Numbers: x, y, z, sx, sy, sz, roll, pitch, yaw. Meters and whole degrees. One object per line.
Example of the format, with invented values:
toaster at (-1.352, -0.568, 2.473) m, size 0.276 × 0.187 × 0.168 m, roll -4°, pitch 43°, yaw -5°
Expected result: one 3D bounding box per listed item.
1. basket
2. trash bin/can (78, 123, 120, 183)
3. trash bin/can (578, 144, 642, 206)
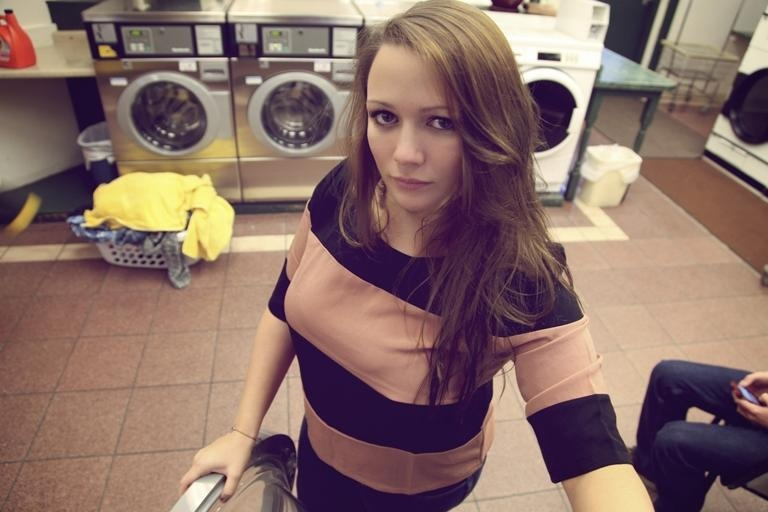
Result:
basket at (-1.706, -0.062, 3.695) m, size 0.473 × 0.163 × 0.309 m, roll 0°, pitch 12°, yaw -7°
trash bin/can at (-2.147, -0.715, 4.005) m, size 0.254 × 0.340 × 0.246 m, roll -1°, pitch 25°, yaw 3°
trash bin/can at (1.846, -0.710, 4.768) m, size 0.524 × 0.590 × 0.525 m, roll 0°, pitch 28°, yaw 1°
